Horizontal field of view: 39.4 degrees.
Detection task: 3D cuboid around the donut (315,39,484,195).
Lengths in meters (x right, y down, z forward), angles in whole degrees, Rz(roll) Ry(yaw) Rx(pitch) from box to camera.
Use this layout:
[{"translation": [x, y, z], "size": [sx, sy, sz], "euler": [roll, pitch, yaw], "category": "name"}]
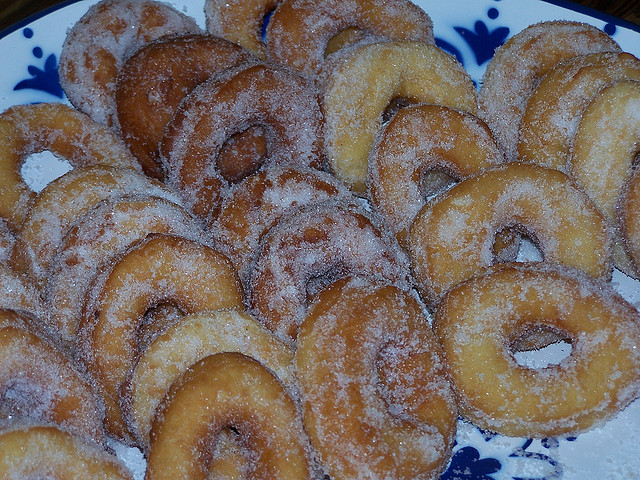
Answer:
[{"translation": [0.144, -0.360, 2.335], "size": [0.411, 0.400, 0.135], "euler": [-57, 2, -4], "category": "donut"}]
